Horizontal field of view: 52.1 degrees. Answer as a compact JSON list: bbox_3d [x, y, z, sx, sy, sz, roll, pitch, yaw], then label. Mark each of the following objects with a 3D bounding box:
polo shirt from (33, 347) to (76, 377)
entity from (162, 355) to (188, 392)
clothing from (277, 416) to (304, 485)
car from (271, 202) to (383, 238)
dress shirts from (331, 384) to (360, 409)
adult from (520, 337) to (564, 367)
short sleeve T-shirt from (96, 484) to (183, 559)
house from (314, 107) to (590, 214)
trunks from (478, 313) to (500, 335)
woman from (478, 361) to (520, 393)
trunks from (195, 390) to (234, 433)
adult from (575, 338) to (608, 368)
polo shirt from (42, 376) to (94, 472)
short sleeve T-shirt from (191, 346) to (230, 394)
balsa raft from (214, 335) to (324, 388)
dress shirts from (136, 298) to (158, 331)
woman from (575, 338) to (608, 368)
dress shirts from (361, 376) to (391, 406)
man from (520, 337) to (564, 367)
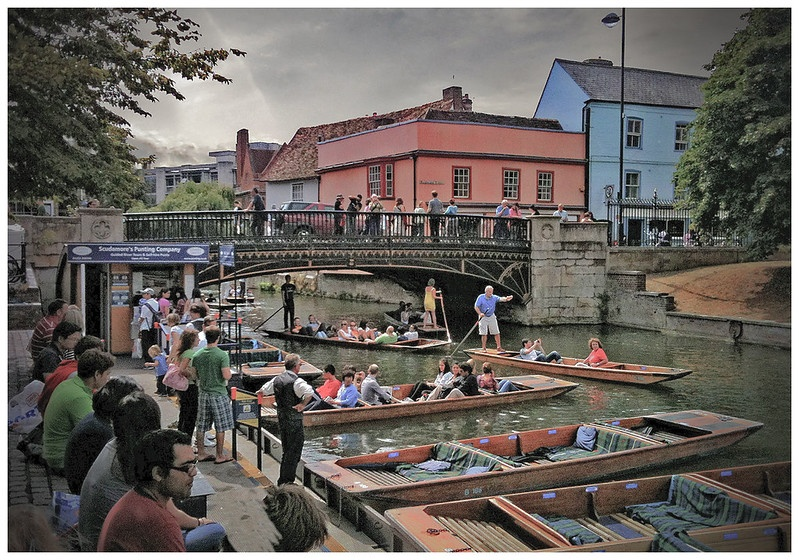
[{"bbox_3d":[-5.550,1.095,13.016,0.484,0.695,0.895,-2,7,-28],"label":"polo shirt"},{"bbox_3d":[-3.923,1.683,14.486,0.452,0.586,0.252,2,0,18],"label":"entity"},{"bbox_3d":[-1.876,2.883,13.951,0.404,1.202,0.704,2,0,-8],"label":"clothing"},{"bbox_3d":[-3.034,-2.125,29.648,3.528,1.362,1.735,-4,8,-15],"label":"car"},{"bbox_3d":[-1.251,2.639,18.558,0.579,0.410,0.421,13,-15,-43],"label":"dress shirts"},{"bbox_3d":[4.215,2.186,24.623,1.316,0.831,0.656,-15,-14,34],"label":"adult"},{"bbox_3d":[-3.124,2.941,9.896,1.107,0.830,0.650,1,5,40],"label":"short sleeve T-shirt"},{"bbox_3d":[1.518,-5.515,41.312,7.360,4.504,7.281,0,-1,-26],"label":"house"},{"bbox_3d":[2.791,1.425,25.625,0.609,0.633,0.542,2,0,-13],"label":"trunks"},{"bbox_3d":[2.295,2.515,20.628,1.317,0.794,0.497,-5,8,-28],"label":"woman"},{"bbox_3d":[-3.297,2.318,14.401,0.731,0.873,0.498,2,8,2],"label":"trunks"},{"bbox_3d":[5.582,2.069,23.317,0.907,0.906,0.722,-4,2,-6],"label":"adult"},{"bbox_3d":[-4.608,2.028,11.387,0.694,1.334,1.266,2,8,-30],"label":"polo shirt"},{"bbox_3d":[-3.331,1.589,14.268,0.767,0.773,0.427,3,11,15],"label":"short sleeve T-shirt"},{"bbox_3d":[-3.209,2.036,20.226,1.656,0.614,4.553,-2,3,-19],"label":"balsa raft"},{"bbox_3d":[-6.337,0.864,20.431,0.593,0.824,0.344,2,0,18],"label":"dress shirts"},{"bbox_3d":[5.606,2.032,23.309,0.907,0.906,0.722,-4,2,-6],"label":"woman"},{"bbox_3d":[-0.539,2.598,18.974,0.676,0.705,0.555,-10,10,-29],"label":"dress shirts"},{"bbox_3d":[4.256,2.193,24.607,1.316,0.831,0.656,-15,-14,34],"label":"man"}]
